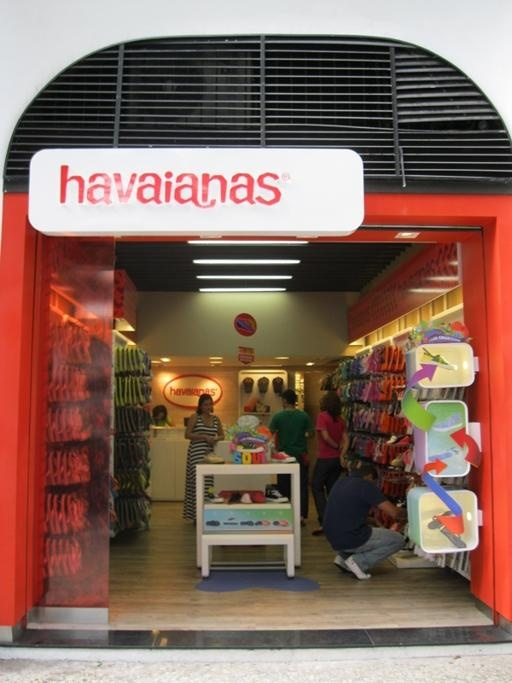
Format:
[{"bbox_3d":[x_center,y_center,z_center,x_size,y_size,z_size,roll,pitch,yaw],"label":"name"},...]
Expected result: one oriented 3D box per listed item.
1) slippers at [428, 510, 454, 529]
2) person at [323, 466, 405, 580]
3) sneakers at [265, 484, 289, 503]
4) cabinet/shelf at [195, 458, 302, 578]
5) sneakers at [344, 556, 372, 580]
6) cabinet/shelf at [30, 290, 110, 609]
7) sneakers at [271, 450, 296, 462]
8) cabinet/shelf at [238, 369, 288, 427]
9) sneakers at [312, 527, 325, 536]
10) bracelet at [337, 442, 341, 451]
[{"bbox_3d":[1.107,1.063,3.472,0.136,0.078,0.040,-36,-18,-4],"label":"slippers"},{"bbox_3d":[1.050,1.456,4.807,0.681,0.870,0.846,-7,-11,39],"label":"person"},{"bbox_3d":[0.169,1.318,4.985,0.102,0.116,0.306,3,-13,-23],"label":"sneakers"},{"bbox_3d":[-0.061,1.502,4.880,0.959,0.861,0.925,1,-17,-3],"label":"cabinet/shelf"},{"bbox_3d":[0.786,1.777,4.532,0.115,0.255,0.095,-31,1,3],"label":"sneakers"},{"bbox_3d":[-1.072,0.618,3.469,0.427,1.875,0.144,0,-9,3],"label":"cabinet/shelf"},{"bbox_3d":[0.209,1.009,5.090,0.102,0.115,0.303,8,-15,-32],"label":"sneakers"},{"bbox_3d":[0.091,1.101,10.624,1.102,1.171,0.297,-2,3,-28],"label":"cabinet/shelf"},{"bbox_3d":[0.650,2.018,6.147,0.111,0.068,0.353,-1,-8,4],"label":"sneakers"},{"bbox_3d":[0.936,1.187,6.533,0.018,0.074,0.077,5,-6,-25],"label":"bracelet"}]
